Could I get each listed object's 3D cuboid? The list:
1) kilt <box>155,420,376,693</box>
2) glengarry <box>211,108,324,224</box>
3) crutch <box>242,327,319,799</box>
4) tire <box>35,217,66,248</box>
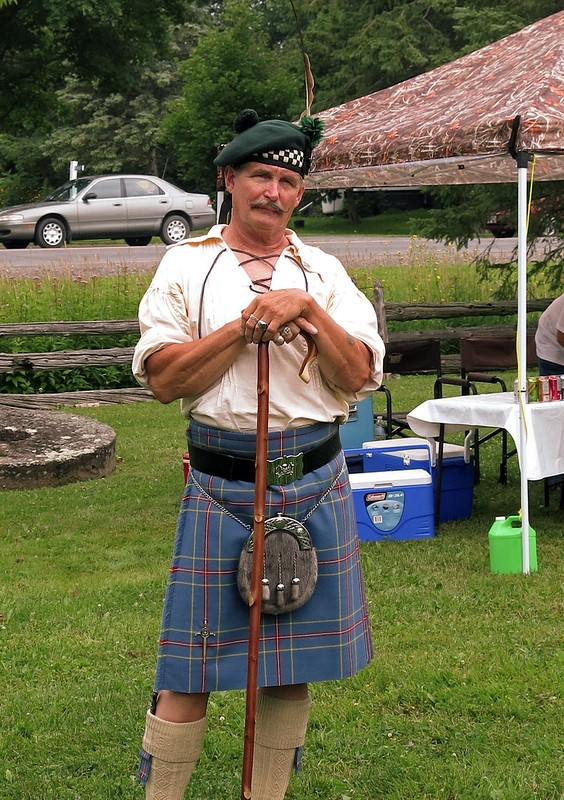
[{"bbox_3d":[-0.067,0.383,2.603,0.523,0.673,0.564,-2,17,-24],"label":"kilt"},{"bbox_3d":[-0.030,-0.657,2.503,0.285,0.141,0.226,3,14,-27],"label":"glengarry"},{"bbox_3d":[-0.006,0.382,2.330,0.163,1.048,0.257,0,7,13],"label":"crutch"},{"bbox_3d":[-4.256,-3.145,18.597,0.549,0.474,0.183,-5,13,-29],"label":"tire"}]
